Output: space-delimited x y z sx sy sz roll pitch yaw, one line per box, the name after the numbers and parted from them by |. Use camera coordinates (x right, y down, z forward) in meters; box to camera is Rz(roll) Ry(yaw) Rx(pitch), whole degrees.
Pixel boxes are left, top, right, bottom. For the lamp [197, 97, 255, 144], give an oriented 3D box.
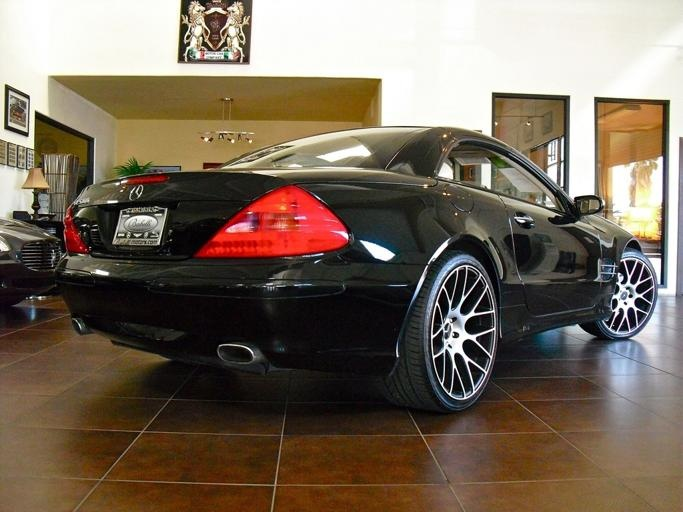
-2.899 -3.416 11.775 1.683 1.044 1.507 -8 26 -23 | lamp

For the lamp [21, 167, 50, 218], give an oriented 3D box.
-4.719 -0.978 7.210 0.325 0.803 0.497 -1 4 -32 | lamp

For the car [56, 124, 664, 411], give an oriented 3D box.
0.381 0.070 2.416 2.696 0.732 1.381 -1 0 -41 | car
